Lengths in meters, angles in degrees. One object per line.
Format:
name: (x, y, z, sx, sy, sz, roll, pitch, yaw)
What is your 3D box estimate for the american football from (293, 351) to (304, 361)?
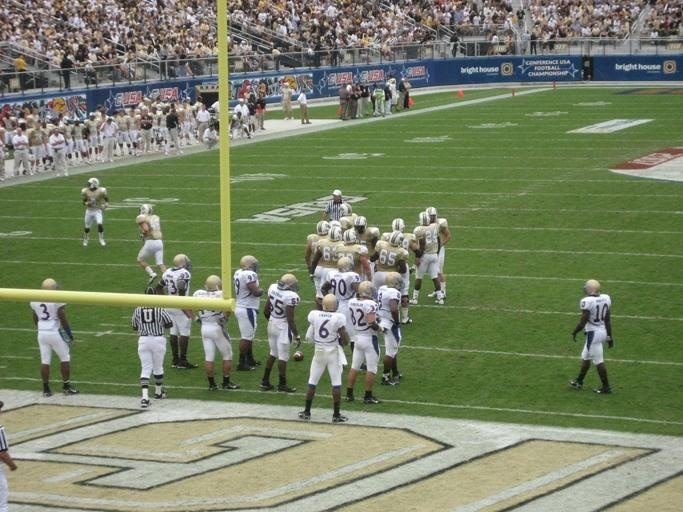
american football: (-0.783, 1.821, 27.568, 0.202, 0.132, 0.185, 4, -2, -21)

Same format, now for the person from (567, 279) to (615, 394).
person: (4.483, 1.406, 26.633, 0.703, 1.983, 0.666, 0, 7, 9)

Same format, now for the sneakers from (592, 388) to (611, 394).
sneakers: (4.652, 2.347, 26.575, 0.286, 0.106, 0.092, 6, 16, 17)

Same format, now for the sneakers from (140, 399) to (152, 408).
sneakers: (-3.472, 2.563, 26.485, 0.190, 0.160, 0.252, -1, 7, -6)

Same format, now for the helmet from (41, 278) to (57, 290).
helmet: (-5.150, 0.456, 26.241, 0.279, 0.254, 0.334, 3, -6, -6)

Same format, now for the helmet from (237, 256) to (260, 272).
helmet: (-1.672, 0.104, 27.394, 0.353, 0.277, 0.244, -11, 25, -18)

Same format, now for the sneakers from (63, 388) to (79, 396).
sneakers: (-4.868, 2.418, 26.961, 0.282, 0.111, 0.094, 1, 2, -4)

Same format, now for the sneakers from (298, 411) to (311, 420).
sneakers: (-0.627, 2.752, 26.007, 0.218, 0.132, 0.122, -5, -3, 40)

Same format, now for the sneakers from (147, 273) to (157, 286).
sneakers: (-3.975, 0.481, 31.322, 0.114, 0.152, 0.326, -38, -7, -47)

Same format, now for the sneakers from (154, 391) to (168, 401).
sneakers: (-3.230, 2.482, 26.755, 0.101, 0.104, 0.271, 6, 9, 26)

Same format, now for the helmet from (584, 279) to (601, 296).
helmet: (4.504, 0.567, 26.533, 0.328, 0.259, 0.266, 2, 2, 15)

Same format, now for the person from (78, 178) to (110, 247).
person: (-5.627, -1.007, 34.051, 0.545, 1.532, 1.029, -2, 7, -9)

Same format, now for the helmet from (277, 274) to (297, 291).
helmet: (-0.935, 0.445, 26.806, 0.355, 0.248, 0.262, -10, 18, -22)

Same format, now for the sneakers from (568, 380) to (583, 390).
sneakers: (4.194, 2.276, 26.702, 0.217, 0.076, 0.129, 11, 7, 29)

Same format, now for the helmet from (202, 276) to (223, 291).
helmet: (-2.290, 0.466, 26.839, 0.269, 0.257, 0.442, -1, 7, -6)

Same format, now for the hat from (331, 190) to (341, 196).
hat: (-0.074, -1.338, 31.505, 0.178, 0.078, 0.261, 5, 1, 11)

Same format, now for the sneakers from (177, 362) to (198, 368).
sneakers: (-2.890, 2.016, 28.054, 0.378, 0.136, 0.126, 0, 4, -2)

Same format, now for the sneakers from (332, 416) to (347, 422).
sneakers: (-0.023, 2.797, 25.817, 0.300, 0.097, 0.121, -3, -37, -3)

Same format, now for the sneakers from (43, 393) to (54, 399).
sneakers: (-5.280, 2.465, 26.821, 0.151, 0.059, 0.066, -2, 1, 40)
